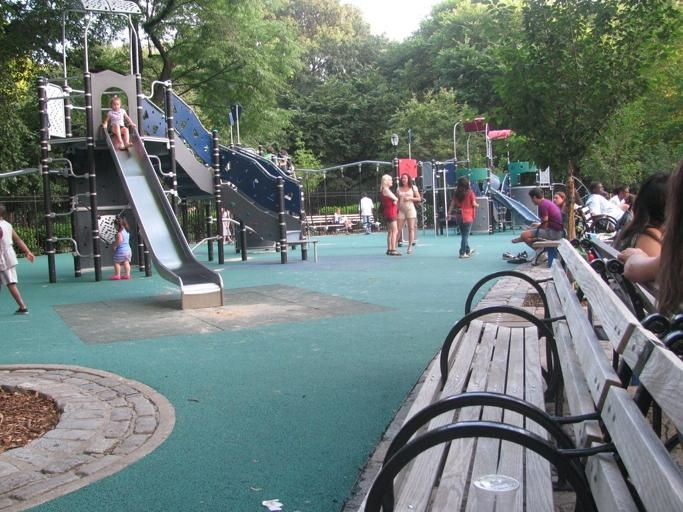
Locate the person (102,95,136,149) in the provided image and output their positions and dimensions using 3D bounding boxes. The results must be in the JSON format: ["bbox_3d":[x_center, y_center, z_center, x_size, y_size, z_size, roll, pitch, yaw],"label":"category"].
[{"bbox_3d":[-5.591,-3.359,13.818,0.746,1.332,0.819,-6,7,-37],"label":"person"}]

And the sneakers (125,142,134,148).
[{"bbox_3d":[-5.314,-2.795,13.681,0.125,0.131,0.063,-18,-9,27],"label":"sneakers"}]

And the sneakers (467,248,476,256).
[{"bbox_3d":[3.928,-0.121,16.559,0.092,0.289,0.120,38,34,30],"label":"sneakers"}]

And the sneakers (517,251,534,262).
[{"bbox_3d":[4.995,0.005,14.838,0.223,0.308,0.694,3,8,21],"label":"sneakers"}]

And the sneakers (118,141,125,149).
[{"bbox_3d":[-5.459,-2.760,13.604,0.127,0.172,0.110,-4,6,-23],"label":"sneakers"}]

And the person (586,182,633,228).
[{"bbox_3d":[6.380,-1.185,12.851,1.136,1.225,0.724,4,-25,15],"label":"person"}]

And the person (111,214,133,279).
[{"bbox_3d":[-5.994,-0.298,14.812,0.517,1.600,2.825,-4,6,-21],"label":"person"}]

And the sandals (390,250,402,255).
[{"bbox_3d":[1.697,-0.110,17.073,0.302,0.133,0.156,-3,1,17],"label":"sandals"}]

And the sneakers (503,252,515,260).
[{"bbox_3d":[4.295,-0.008,14.262,0.175,0.240,0.546,0,-5,-8],"label":"sneakers"}]

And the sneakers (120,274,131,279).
[{"bbox_3d":[-5.528,0.540,14.016,0.121,0.147,0.345,1,0,-11],"label":"sneakers"}]

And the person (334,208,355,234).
[{"bbox_3d":[0.104,-2.083,34.354,1.039,1.260,1.493,-2,6,3],"label":"person"}]

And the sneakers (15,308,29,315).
[{"bbox_3d":[-5.394,0.931,9.228,0.204,0.104,0.092,3,3,27],"label":"sneakers"}]

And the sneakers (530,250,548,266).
[{"bbox_3d":[4.814,0.057,13.358,0.218,0.297,0.677,-4,-6,25],"label":"sneakers"}]
